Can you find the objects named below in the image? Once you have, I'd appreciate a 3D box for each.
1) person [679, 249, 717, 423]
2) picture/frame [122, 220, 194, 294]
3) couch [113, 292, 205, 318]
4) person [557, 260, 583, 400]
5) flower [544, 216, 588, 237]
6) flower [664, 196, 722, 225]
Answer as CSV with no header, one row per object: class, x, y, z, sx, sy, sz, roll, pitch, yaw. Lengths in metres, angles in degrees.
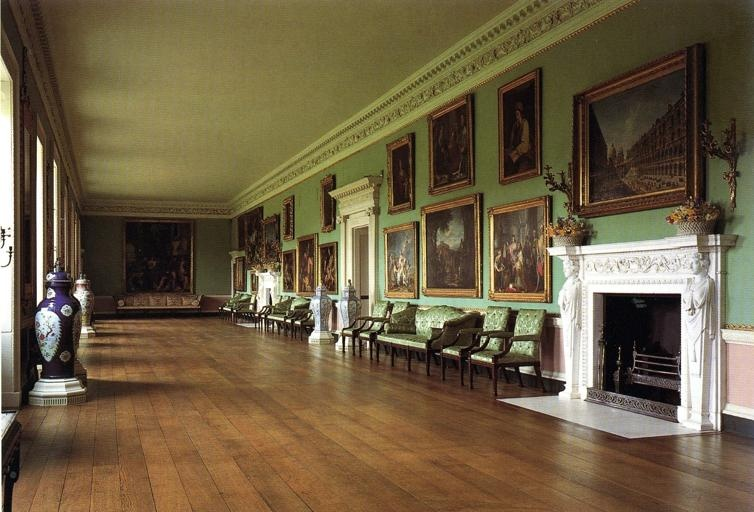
person,4.502,1.149,7.106,0.383,2.378,0.283,1,-4,33
picture/frame,-13.902,0.038,31.689,4.480,5.198,0.364,1,-6,-19
couch,-13.331,2.881,31.275,4.727,1.520,1.567,6,-5,-26
person,3.375,1.222,8.884,0.389,2.366,0.216,1,-4,32
flower,3.334,-0.487,8.907,0.449,0.210,0.456,-1,-1,0
flower,4.511,-0.647,7.182,0.458,0.223,0.460,-3,-1,25
